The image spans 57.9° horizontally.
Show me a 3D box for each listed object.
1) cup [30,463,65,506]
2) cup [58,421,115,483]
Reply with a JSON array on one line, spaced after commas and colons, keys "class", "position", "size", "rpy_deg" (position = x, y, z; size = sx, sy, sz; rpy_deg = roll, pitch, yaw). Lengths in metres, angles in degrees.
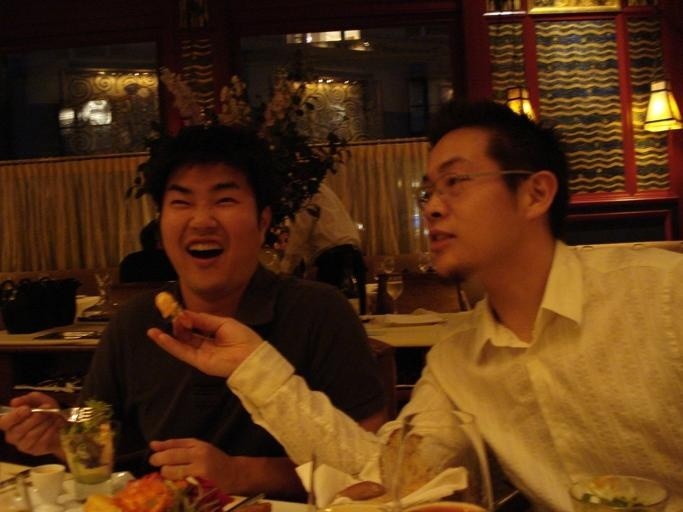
[{"class": "cup", "position": [-0.652, 0.508, 1.384], "size": [0.079, 0.079, 0.076], "rpy_deg": [-4, -6, 0]}, {"class": "cup", "position": [-0.588, 0.474, 1.483], "size": [0.150, 0.140, 0.138], "rpy_deg": [-7, -11, -1]}]
